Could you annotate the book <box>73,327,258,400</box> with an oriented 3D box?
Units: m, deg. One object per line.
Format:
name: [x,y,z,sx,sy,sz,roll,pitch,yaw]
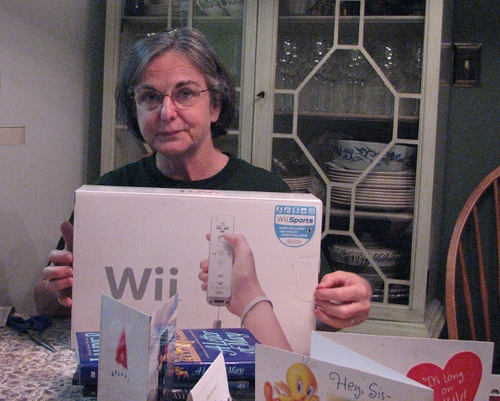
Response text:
book: [-0.132,0.257,0.734,0.155,0.035,0.140,1,4,3]

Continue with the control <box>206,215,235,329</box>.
control: [-0.051,0.105,0.826,0.043,0.158,0.033,2,8,3]
